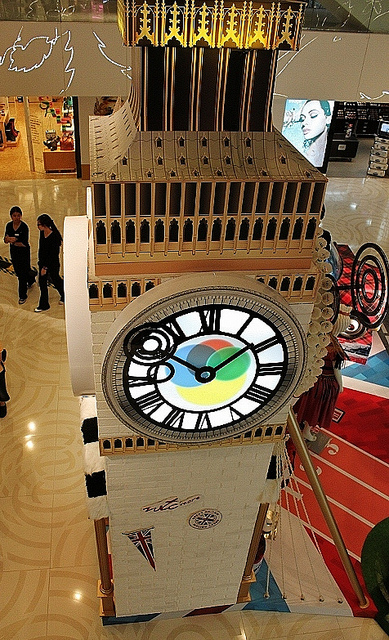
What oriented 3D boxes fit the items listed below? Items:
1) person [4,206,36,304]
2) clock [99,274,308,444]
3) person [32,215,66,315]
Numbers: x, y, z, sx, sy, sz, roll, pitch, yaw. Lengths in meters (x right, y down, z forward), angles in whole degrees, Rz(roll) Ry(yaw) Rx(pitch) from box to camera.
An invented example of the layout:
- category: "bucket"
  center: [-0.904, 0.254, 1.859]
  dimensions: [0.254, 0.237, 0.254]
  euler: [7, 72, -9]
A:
- category: "person"
  center: [-2.827, -1.079, 7.393]
  dimensions: [0.349, 1.642, 0.602]
  euler: [-1, 27, -11]
- category: "clock"
  center: [0.052, 0.223, 2.129]
  dimensions: [0.930, 0.984, 0.151]
  euler: [-4, 38, -2]
- category: "person"
  center: [-2.393, -0.998, 7.366]
  dimensions: [0.536, 1.625, 1.324]
  euler: [-4, 28, -16]
